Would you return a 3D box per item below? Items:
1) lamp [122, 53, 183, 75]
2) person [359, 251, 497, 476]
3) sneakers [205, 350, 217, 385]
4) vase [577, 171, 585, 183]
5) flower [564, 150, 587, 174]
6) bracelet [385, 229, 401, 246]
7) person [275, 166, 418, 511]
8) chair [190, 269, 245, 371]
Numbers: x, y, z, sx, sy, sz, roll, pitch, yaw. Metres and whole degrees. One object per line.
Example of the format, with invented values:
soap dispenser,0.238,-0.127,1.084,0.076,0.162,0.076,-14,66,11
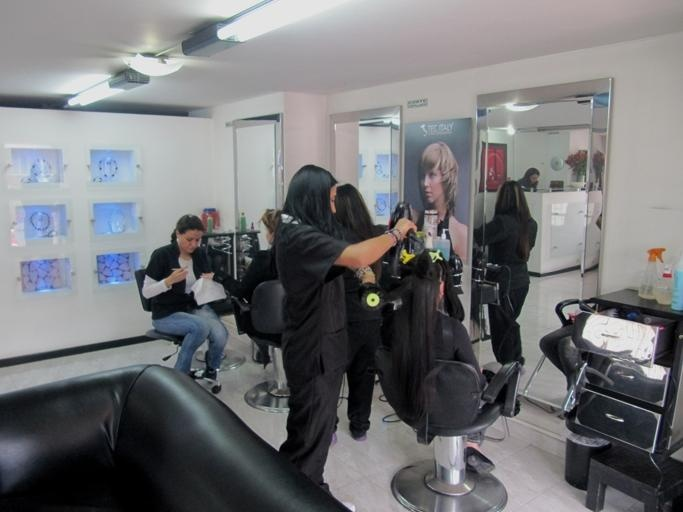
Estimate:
lamp,-1.208,-1.229,3.164,0.298,0.093,0.273,-12,15,-42
person,0.445,0.590,2.439,0.508,1.286,0.417,-1,11,4
sneakers,-1.034,0.896,3.873,0.092,0.304,0.127,2,-30,-10
vase,1.473,-0.490,3.036,0.041,0.051,0.045,-1,-4,38
flower,1.454,-0.581,3.059,0.035,0.146,0.135,-7,12,-25
bracelet,0.234,-0.087,2.278,0.041,0.076,0.056,1,15,7
person,-0.016,0.403,2.498,0.644,1.633,0.737,-2,4,-9
chair,-1.160,0.697,4.443,0.483,0.573,0.571,1,3,-3
